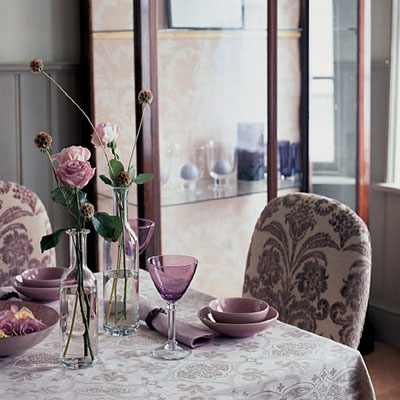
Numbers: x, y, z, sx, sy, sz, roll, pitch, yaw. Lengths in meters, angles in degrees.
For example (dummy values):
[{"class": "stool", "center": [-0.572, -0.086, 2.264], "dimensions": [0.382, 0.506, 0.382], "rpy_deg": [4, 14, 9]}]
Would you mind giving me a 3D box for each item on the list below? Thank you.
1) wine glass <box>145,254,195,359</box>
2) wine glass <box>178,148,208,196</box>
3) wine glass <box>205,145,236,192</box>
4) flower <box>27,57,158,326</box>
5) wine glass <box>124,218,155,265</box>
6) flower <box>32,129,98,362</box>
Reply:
[{"class": "wine glass", "center": [-0.047, 0.175, 0.836], "dimensions": [0.082, 0.167, 0.084], "rpy_deg": [-2, 4, -36]}, {"class": "wine glass", "center": [-0.035, -0.134, 2.151], "dimensions": [0.107, 0.218, 0.113], "rpy_deg": [5, 7, 32]}, {"class": "wine glass", "center": [0.088, -0.149, 2.128], "dimensions": [0.106, 0.210, 0.118], "rpy_deg": [3, -10, -4]}, {"class": "flower", "center": [-0.180, 0.001, 0.876], "dimensions": [0.159, 0.472, 0.169], "rpy_deg": [-5, 7, -13]}, {"class": "wine glass", "center": [-0.128, 0.080, 1.021], "dimensions": [0.058, 0.108, 0.060], "rpy_deg": [0, 15, -10]}, {"class": "flower", "center": [-0.219, 0.069, 0.826], "dimensions": [0.100, 0.360, 0.233], "rpy_deg": [-2, 13, -16]}]
